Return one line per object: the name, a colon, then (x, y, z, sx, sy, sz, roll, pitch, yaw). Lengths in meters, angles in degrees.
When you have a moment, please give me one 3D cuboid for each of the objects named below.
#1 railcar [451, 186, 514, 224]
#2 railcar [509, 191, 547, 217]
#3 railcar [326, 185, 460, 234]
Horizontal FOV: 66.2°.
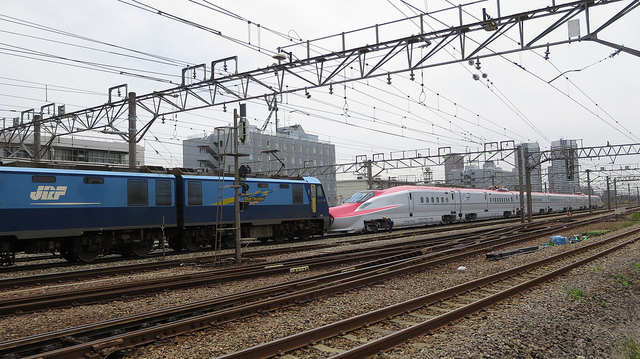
railcar: (18.037, 2.924, 54.640, 3.626, 3.766, 12.680, -2, -3, 36)
railcar: (27.705, 3.252, 66.462, 2.582, 3.180, 14.987, -4, -4, 44)
railcar: (7.192, 2.784, 43.670, 4.402, 3.745, 16.596, -2, -3, 33)
